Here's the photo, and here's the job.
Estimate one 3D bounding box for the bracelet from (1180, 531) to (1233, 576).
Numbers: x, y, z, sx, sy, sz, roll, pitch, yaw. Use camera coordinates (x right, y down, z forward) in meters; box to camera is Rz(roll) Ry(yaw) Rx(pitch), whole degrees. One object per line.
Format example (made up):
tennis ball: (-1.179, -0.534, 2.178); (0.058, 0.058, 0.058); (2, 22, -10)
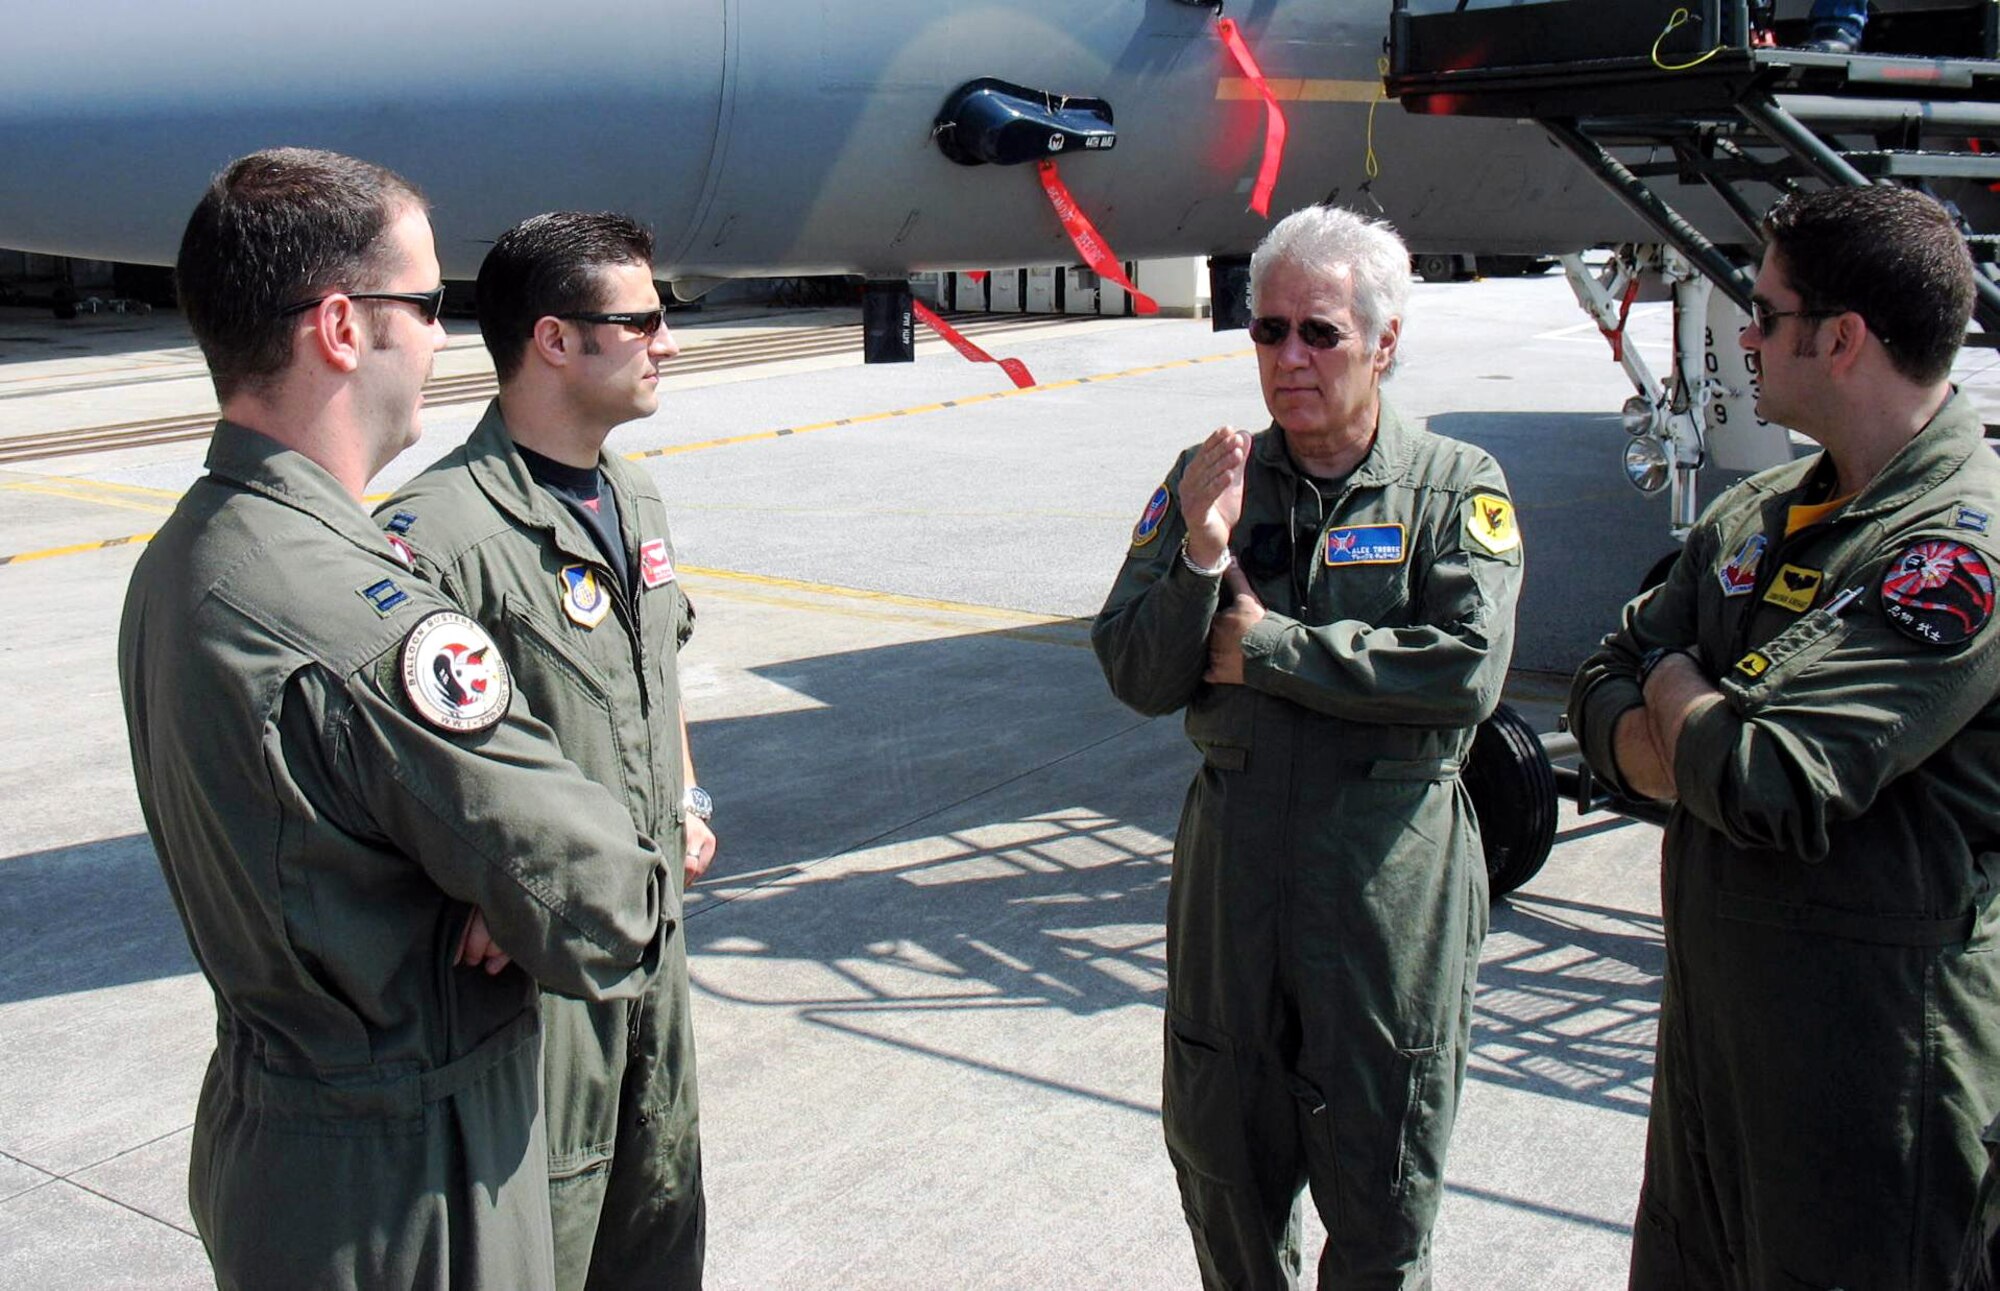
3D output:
bracelet: (0.476, -0.202, 3.227); (0.103, 0.079, 0.054); (-1, 15, 1)
